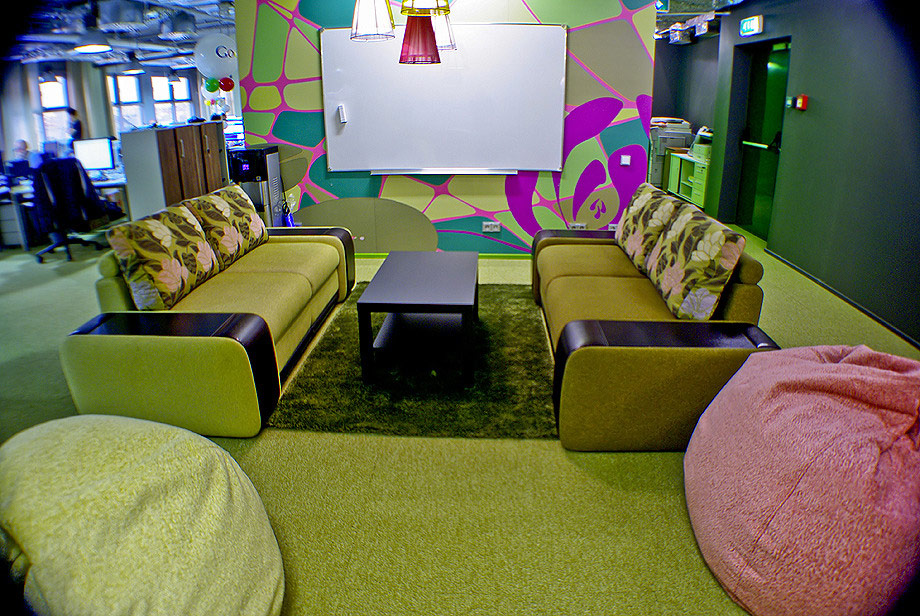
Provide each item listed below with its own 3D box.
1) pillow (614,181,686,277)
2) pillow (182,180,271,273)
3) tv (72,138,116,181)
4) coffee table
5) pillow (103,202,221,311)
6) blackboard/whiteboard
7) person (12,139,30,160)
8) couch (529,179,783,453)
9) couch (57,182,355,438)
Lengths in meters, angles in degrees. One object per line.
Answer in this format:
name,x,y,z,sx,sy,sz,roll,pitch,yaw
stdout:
pillow,1.370,-0.622,4.329,0.182,0.669,0.679,14,26,1
pillow,-1.791,-0.650,4.472,0.209,0.671,0.731,-19,16,20
tv,-4.770,-1.998,7.688,0.592,0.566,0.156,-8,9,-16
coffee table,-0.236,0.034,4.036,0.725,0.569,1.236,3,36,5
pillow,-1.896,-0.311,3.794,0.285,0.526,0.824,-5,22,12
blackboard/whiteboard,-0.167,-2.060,5.799,2.364,1.368,0.115,1,19,3
person,-5.072,-1.822,6.778,0.143,0.214,1.310,-14,23,-34
couch,1.184,-0.181,4.286,1.152,1.159,2.639,1,21,3
couch,-1.627,-0.087,3.992,1.123,1.176,1.780,1,19,3
